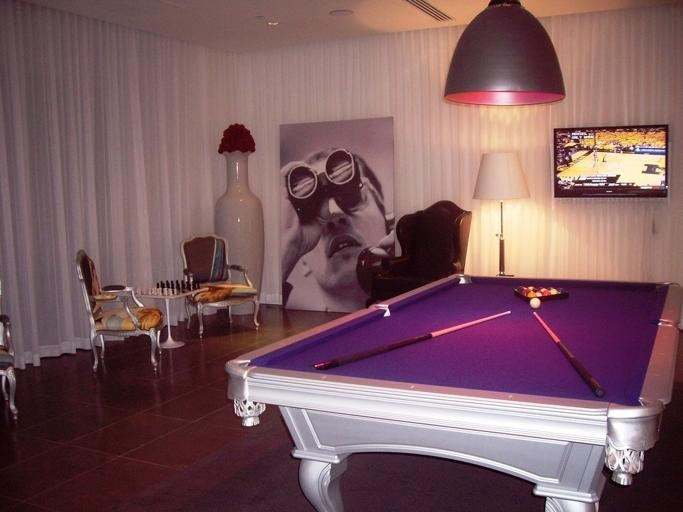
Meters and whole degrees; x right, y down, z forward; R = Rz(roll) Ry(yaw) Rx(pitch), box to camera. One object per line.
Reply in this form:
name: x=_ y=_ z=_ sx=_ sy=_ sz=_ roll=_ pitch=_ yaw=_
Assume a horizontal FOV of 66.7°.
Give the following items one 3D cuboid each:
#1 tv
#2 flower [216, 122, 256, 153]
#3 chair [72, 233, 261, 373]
tv: x=3.144 y=-1.101 z=5.937 sx=0.877 sy=0.616 sz=0.062 roll=0 pitch=5 yaw=22
flower: x=-1.461 y=-1.626 z=7.184 sx=0.484 sy=0.421 sz=0.307 roll=-3 pitch=8 yaw=-14
chair: x=-2.125 y=0.409 z=5.917 sx=1.628 sy=1.175 sz=2.146 roll=2 pitch=9 yaw=24
